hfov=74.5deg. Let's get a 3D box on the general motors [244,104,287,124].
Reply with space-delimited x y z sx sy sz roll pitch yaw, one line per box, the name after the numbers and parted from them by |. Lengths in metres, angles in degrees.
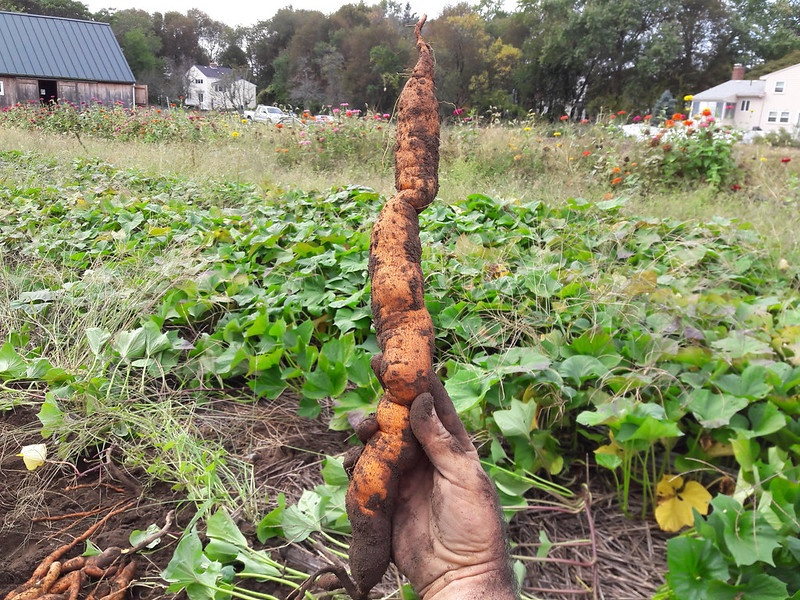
-4.936 -6.935 19.339 0.922 0.608 17.377 -2 19 -13 | general motors
